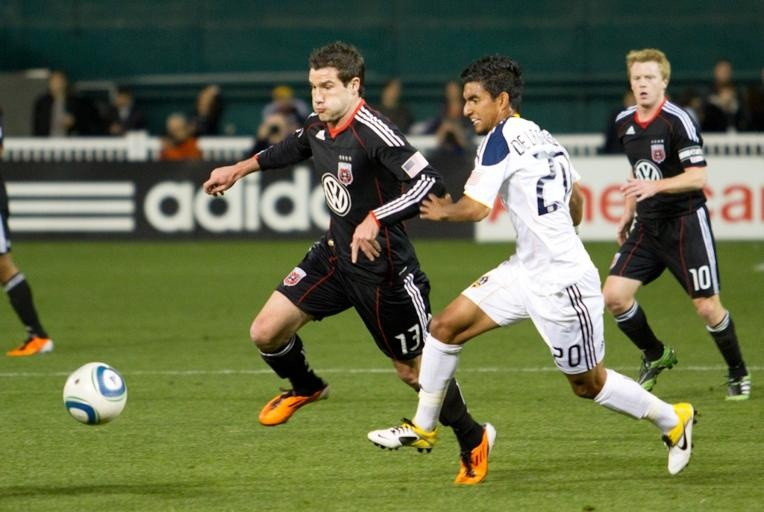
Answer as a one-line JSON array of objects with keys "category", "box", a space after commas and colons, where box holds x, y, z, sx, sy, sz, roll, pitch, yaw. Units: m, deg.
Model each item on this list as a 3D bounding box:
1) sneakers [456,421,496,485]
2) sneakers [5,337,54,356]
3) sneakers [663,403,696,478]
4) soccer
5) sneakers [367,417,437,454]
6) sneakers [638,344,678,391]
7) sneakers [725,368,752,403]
[{"category": "sneakers", "box": [0.704, 1.476, 8.341, 0.183, 0.500, 0.215, 13, -10, 36]}, {"category": "sneakers", "box": [-3.339, 0.876, 11.118, 0.489, 0.204, 0.175, -3, -2, -2]}, {"category": "sneakers", "box": [2.129, 1.335, 8.398, 0.247, 0.520, 0.190, 5, -2, -13]}, {"category": "soccer", "box": [-2.183, 1.073, 8.834, 0.469, 0.452, 0.463, 3, -14, -16]}, {"category": "sneakers", "box": [0.158, 1.299, 8.474, 0.549, 0.261, 0.211, 6, 5, -3]}, {"category": "sneakers", "box": [2.397, 0.990, 10.112, 0.201, 0.408, 0.148, 39, 0, -1]}, {"category": "sneakers", "box": [2.975, 1.131, 9.742, 0.120, 0.141, 0.342, -16, -2, 34]}]
